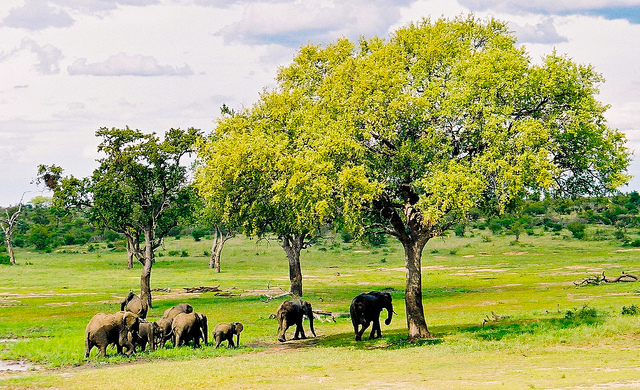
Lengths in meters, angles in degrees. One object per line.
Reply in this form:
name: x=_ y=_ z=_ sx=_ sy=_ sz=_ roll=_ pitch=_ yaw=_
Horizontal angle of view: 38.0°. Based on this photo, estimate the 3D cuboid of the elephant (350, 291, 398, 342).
elephant: x=6.230 y=14.363 z=110.231 sx=3.451 sy=5.686 sz=7.582 roll=-7 pitch=-8 yaw=37

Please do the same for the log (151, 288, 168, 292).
log: x=-23.907 y=14.092 z=137.518 sx=2.505 sy=0.503 sz=1.065 roll=-5 pitch=-7 yaw=24

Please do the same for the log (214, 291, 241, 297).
log: x=-13.201 y=14.159 z=132.456 sx=3.243 sy=0.611 sz=1.406 roll=-4 pitch=-7 yaw=14
